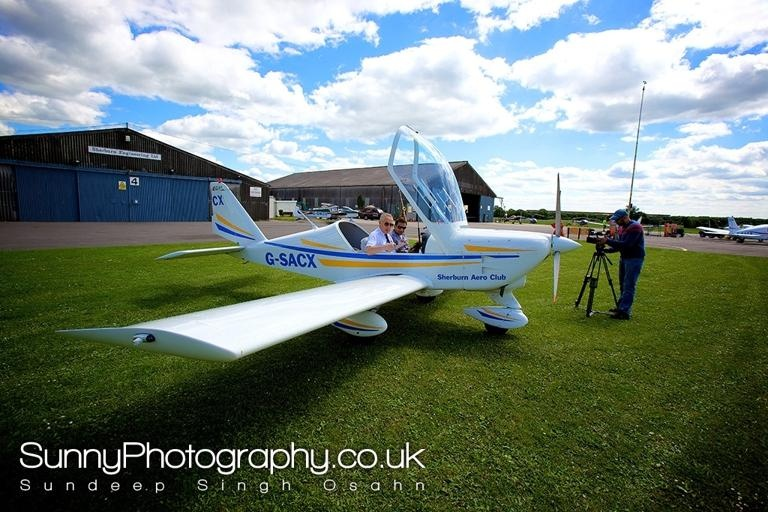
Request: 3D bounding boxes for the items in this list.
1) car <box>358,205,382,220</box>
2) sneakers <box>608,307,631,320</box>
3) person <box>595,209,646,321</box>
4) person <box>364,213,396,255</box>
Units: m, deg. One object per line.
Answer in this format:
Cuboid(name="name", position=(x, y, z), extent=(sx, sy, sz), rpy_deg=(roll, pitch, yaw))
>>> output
Cuboid(name="car", position=(-1.536, -4.305, 40.549), extent=(2.761, 1.163, 1.519), rpy_deg=(-3, 13, 16))
Cuboid(name="sneakers", position=(4.197, 1.029, 7.139), extent=(0.336, 0.129, 0.186), rpy_deg=(-3, 23, 35))
Cuboid(name="person", position=(4.311, 0.104, 7.232), extent=(0.653, 1.883, 0.982), rpy_deg=(10, 16, 29))
Cuboid(name="person", position=(-0.049, -0.467, 6.741), extent=(0.630, 0.639, 1.008), rpy_deg=(4, 11, 14))
